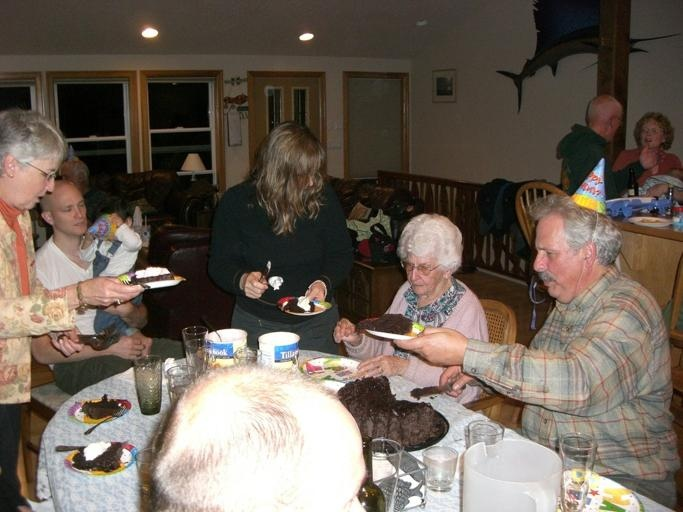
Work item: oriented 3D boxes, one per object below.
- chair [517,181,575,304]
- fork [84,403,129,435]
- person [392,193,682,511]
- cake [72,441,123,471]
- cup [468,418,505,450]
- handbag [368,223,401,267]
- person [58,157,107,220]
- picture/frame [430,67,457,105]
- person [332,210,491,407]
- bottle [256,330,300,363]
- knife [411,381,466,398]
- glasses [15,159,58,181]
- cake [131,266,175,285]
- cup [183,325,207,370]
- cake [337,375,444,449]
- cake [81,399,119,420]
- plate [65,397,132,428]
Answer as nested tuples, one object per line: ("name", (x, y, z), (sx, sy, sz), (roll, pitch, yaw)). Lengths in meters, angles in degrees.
("chair", (1.750, -0.135, 4.449), (0.548, 0.952, 0.604), (7, 24, 21))
("fork", (-0.820, 0.575, 1.892), (0.043, 0.030, 0.111), (24, 48, 40))
("person", (0.776, 0.212, 2.718), (1.215, 2.070, 0.919), (0, 11, -7))
("cake", (-0.753, 0.617, 1.659), (0.157, 0.044, 0.101), (1, 9, 3))
("cup", (0.429, 0.527, 1.645), (0.095, 0.115, 0.109), (1, 7, -3))
("handbag", (0.382, -0.109, 5.355), (0.266, 0.361, 0.136), (2, -9, -22))
("person", (-2.696, -0.710, 5.690), (0.786, 0.618, 0.433), (11, 22, 40))
("picture/frame", (1.743, -2.883, 9.113), (0.024, 0.725, 0.687), (-6, 8, -31))
("person", (0.335, 0.356, 2.515), (0.703, 1.039, 0.618), (11, 12, 43))
("bottle", (-0.233, 0.359, 2.011), (0.140, 0.116, 0.148), (0, 6, 0))
("knife", (0.379, 0.524, 2.122), (0.250, 0.068, 0.020), (-4, -14, -27))
("glasses", (-1.106, -0.314, 2.002), (0.072, 0.070, 0.185), (1, 9, 1))
("cake", (-0.831, 0.086, 2.352), (0.109, 0.039, 0.089), (-4, 10, -20))
("cup", (-0.603, 0.384, 2.156), (0.118, 0.193, 0.121), (1, -6, 0))
("cake", (0.172, 0.516, 1.797), (0.337, 0.129, 0.320), (-1, 21, -20))
("cake", (-0.853, 0.542, 1.914), (0.068, 0.036, 0.091), (2, -8, 2))
("plate", (-0.856, 0.543, 1.928), (0.149, 0.028, 0.100), (-2, 17, -43))
